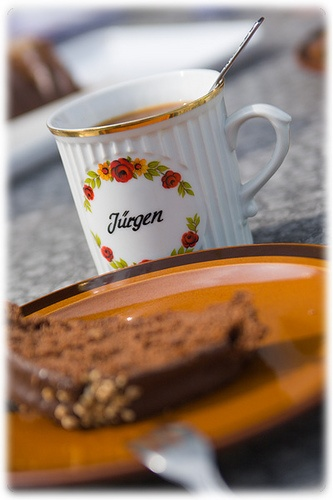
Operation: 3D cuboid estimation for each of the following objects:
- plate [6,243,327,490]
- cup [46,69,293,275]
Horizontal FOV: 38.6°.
[{"bbox_3d":[0.002,0.046,0.209,0.158,0.038,0.094,-15,35,-4],"label":"plate"},{"bbox_3d":[0.010,-0.040,0.303,0.139,0.100,0.105,-2,24,26],"label":"cup"}]
